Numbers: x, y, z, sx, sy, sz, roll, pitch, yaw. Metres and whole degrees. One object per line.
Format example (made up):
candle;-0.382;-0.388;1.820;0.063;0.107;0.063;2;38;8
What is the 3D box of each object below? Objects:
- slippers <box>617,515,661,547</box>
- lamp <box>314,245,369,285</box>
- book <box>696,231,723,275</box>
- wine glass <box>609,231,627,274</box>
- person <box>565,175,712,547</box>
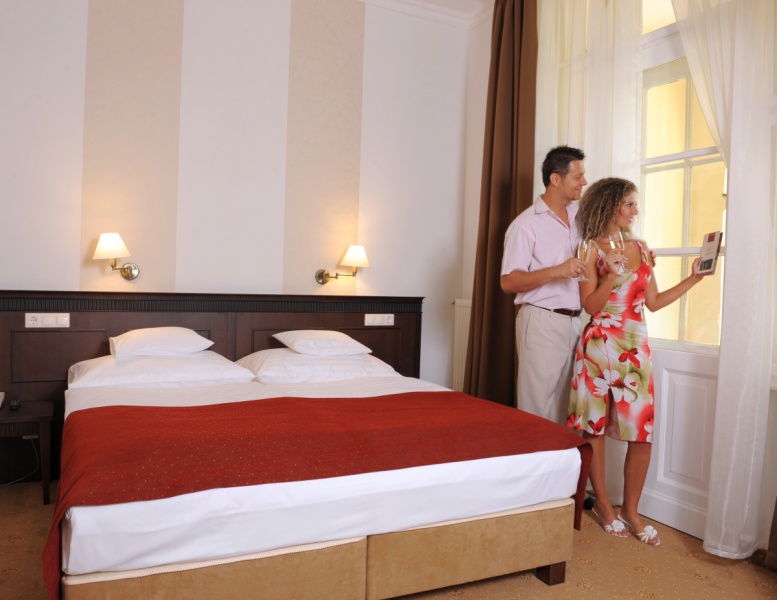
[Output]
slippers;1.358;1.241;3.240;0.096;0.055;0.191;1;-1;-19
lamp;-0.334;-0.246;4.525;0.390;0.361;0.241;-1;-3;42
book;1.616;-0.231;3.038;0.103;0.215;0.196;2;6;28
wine glass;1.210;-0.243;3.164;0.088;0.215;0.189;2;6;21
person;1.270;0.312;3.265;0.533;1.938;0.351;2;6;26
